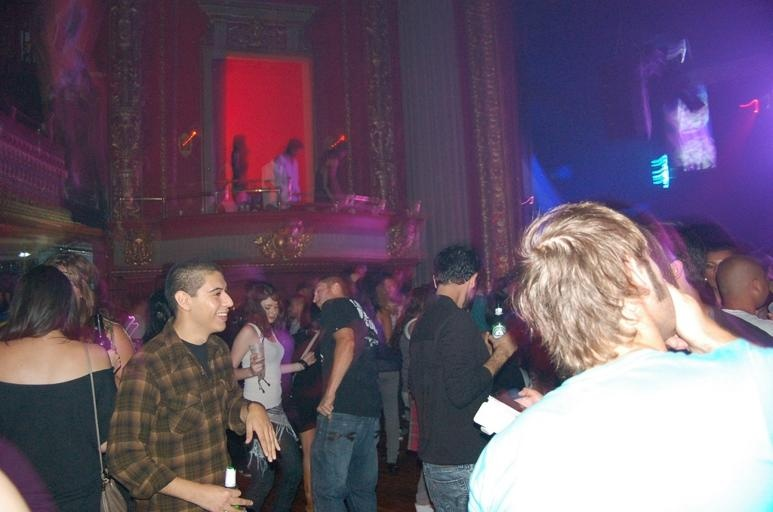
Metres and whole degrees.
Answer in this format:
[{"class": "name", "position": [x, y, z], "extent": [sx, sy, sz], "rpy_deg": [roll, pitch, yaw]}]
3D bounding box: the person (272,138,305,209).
[{"class": "person", "position": [-1.830, -1.488, 11.484], "extent": [0.534, 1.298, 2.873], "rpy_deg": [-4, -1, -10]}]

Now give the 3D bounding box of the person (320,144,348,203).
[{"class": "person", "position": [-1.026, -1.646, 12.495], "extent": [0.591, 1.222, 2.355], "rpy_deg": [-4, -1, -5]}]

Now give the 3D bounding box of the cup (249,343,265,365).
[{"class": "cup", "position": [-1.115, 0.836, 5.373], "extent": [0.135, 0.160, 0.141], "rpy_deg": [-3, -4, 0]}]
